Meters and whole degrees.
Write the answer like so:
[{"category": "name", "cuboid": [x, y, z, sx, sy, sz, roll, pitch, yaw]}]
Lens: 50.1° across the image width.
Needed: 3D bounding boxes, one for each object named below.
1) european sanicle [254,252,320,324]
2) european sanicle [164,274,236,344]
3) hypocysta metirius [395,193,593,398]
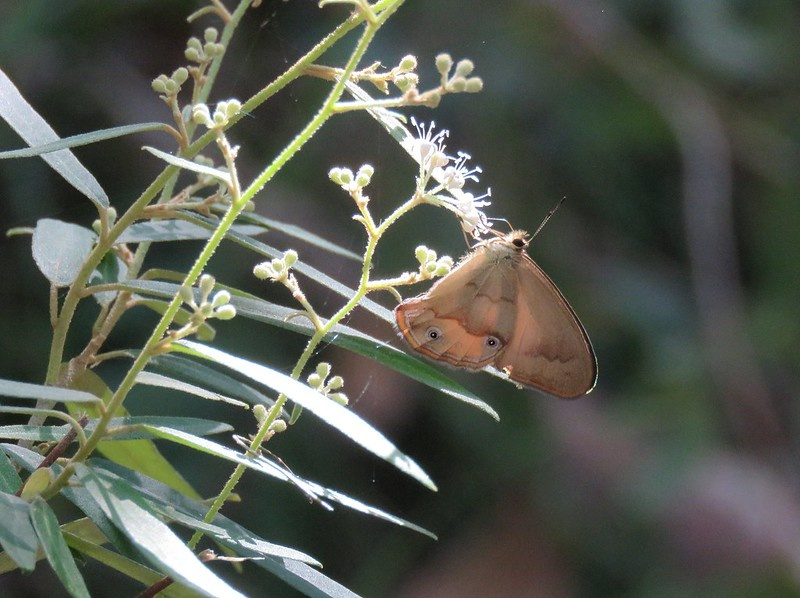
[{"category": "european sanicle", "cuboid": [-0.256, 0.002, 2.152, 0.239, 0.116, 0.099, 61, -3, -6]}, {"category": "european sanicle", "cuboid": [-0.492, 0.039, 2.144, 0.127, 0.155, 0.478, 21, -9, -12]}, {"category": "hypocysta metirius", "cuboid": [0.282, 0.092, 2.537, 0.394, 0.675, 0.645, 9, 22, 21]}]
